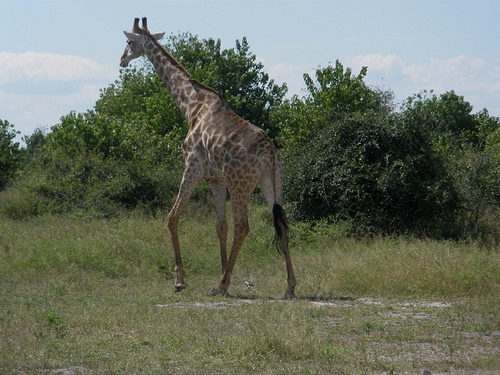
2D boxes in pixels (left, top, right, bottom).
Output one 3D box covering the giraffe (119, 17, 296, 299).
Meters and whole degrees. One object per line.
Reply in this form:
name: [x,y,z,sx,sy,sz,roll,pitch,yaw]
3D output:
giraffe: [-1.157,-0.885,15.549,2.063,5.628,5.651,-6,13,-32]
